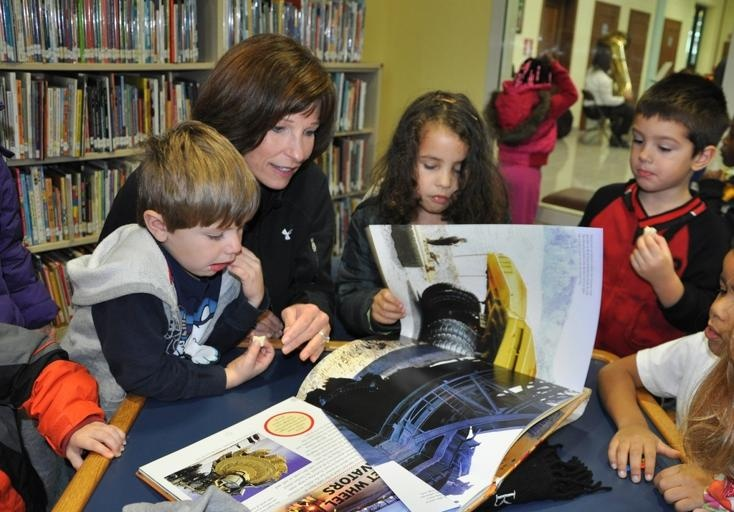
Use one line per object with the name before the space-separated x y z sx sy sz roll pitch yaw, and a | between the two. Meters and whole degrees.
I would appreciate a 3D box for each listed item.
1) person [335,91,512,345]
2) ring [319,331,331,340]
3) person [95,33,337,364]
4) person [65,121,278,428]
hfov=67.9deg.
person | 0.168 -0.028 1.727 0.450 0.868 0.510 2 23 -5
ring | -0.112 0.210 1.470 0.023 0.013 0.024 42 -9 8
person | -0.343 -0.025 1.643 0.531 1.112 0.633 6 19 -2
person | -0.515 0.210 1.508 0.552 1.087 0.448 15 19 7
